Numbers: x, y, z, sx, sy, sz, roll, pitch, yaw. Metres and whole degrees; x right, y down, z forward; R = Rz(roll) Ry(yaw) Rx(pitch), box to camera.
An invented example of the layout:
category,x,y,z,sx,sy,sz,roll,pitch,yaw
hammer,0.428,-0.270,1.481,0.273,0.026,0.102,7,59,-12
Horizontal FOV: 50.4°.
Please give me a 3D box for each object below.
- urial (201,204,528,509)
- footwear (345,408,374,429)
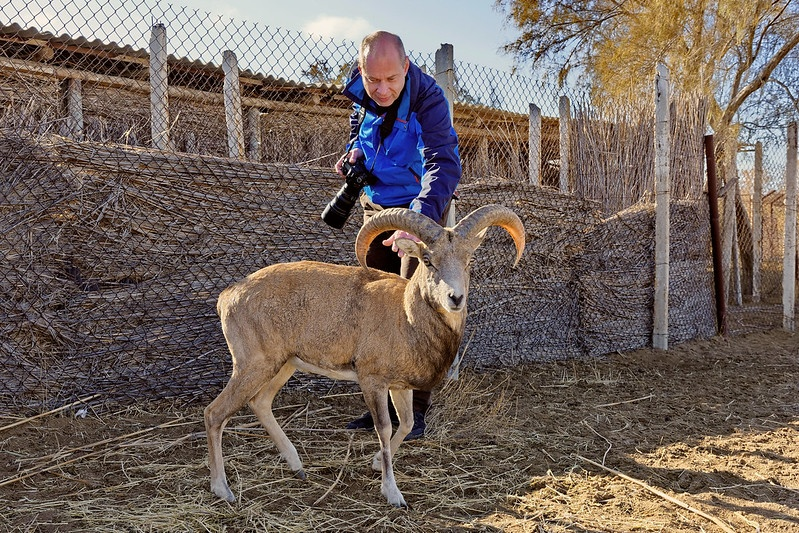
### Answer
category,x,y,z,sx,sy,sz,roll,pitch,yaw
urial,-0.432,0.897,8.733,3.407,3.114,1.159,1,9,20
footwear,-0.508,1.747,9.554,0.420,0.176,0.153,3,-3,-10
